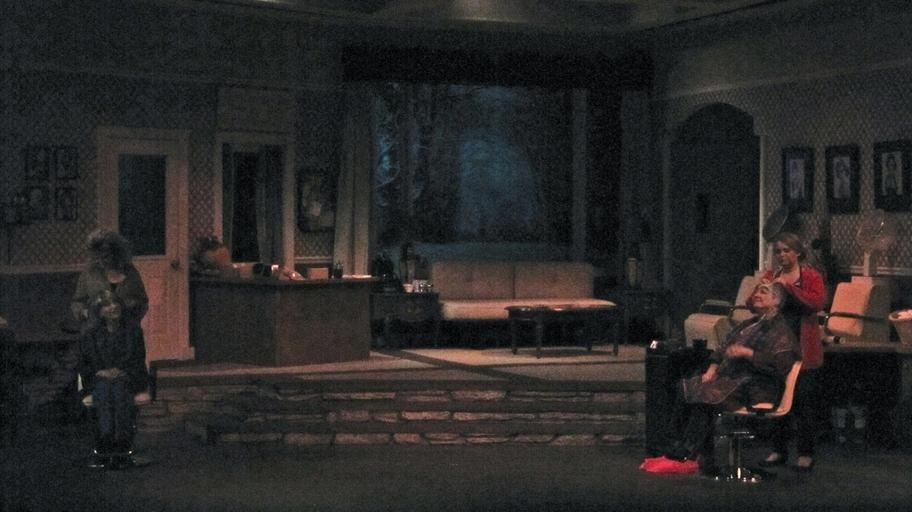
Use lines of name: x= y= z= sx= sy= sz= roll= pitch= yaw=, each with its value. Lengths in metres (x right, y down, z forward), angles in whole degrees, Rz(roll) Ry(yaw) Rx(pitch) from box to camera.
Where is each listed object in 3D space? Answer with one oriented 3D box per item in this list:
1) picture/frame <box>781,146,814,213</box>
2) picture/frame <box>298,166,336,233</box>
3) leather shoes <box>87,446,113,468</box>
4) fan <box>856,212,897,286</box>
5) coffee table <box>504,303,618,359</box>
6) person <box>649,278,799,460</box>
picture/frame: x=4.481 y=-1.000 z=13.220 sx=0.063 sy=0.854 sz=0.449 roll=-2 pitch=2 yaw=-44
picture/frame: x=-1.964 y=-0.791 z=14.354 sx=0.506 sy=0.909 sz=0.129 roll=-1 pitch=2 yaw=-17
leather shoes: x=-3.432 y=1.943 z=9.777 sx=0.253 sy=0.190 sz=0.216 roll=0 pitch=-4 yaw=-17
fan: x=5.102 y=-0.154 z=12.229 sx=0.411 sy=0.784 sz=0.241 roll=-1 pitch=1 yaw=-4
coffee table: x=1.383 y=1.153 z=13.924 sx=1.334 sy=0.467 sz=0.869 roll=0 pitch=-3 yaw=-19
person: x=2.550 y=1.128 z=9.517 sx=1.314 sy=1.758 sz=0.447 roll=0 pitch=1 yaw=8
